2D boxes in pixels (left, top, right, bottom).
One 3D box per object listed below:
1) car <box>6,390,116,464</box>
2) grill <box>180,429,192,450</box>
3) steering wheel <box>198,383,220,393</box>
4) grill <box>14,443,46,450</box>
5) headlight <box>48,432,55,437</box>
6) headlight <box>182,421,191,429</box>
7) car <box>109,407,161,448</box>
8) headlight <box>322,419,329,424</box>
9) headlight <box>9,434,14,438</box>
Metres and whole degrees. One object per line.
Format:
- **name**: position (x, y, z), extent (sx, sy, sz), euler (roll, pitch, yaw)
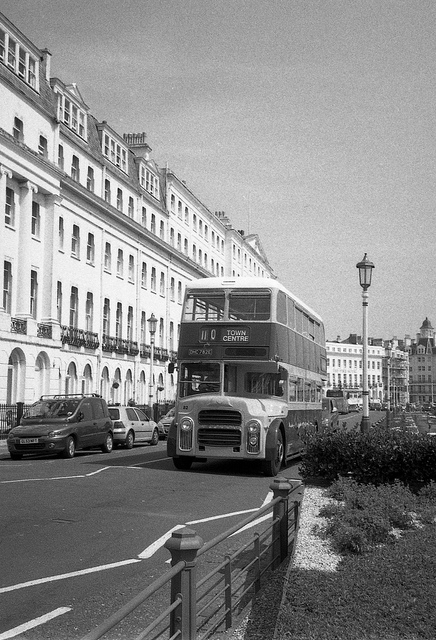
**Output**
- **car**: position (-4.889, 3.382, 20.988), extent (1.861, 2.155, 4.205), euler (-4, -10, 19)
- **grill**: position (-0.784, 2.877, 15.670), extent (0.281, 0.792, 0.358), euler (-1, -8, 16)
- **steering wheel**: position (-0.237, 1.684, 16.005), extent (0.561, 0.244, 0.061), euler (-4, -7, 19)
- **grill**: position (-5.561, 3.744, 19.200), extent (0.958, 0.190, 0.221), euler (-5, -10, 18)
- **headlight**: position (-4.960, 3.373, 19.339), extent (0.140, 0.207, 0.093), euler (1, 3, 3)
- **headlight**: position (-0.772, 2.543, 15.666), extent (0.235, 0.182, 0.064), euler (-3, -7, 15)
- **car**: position (-3.418, 4.395, 26.551), extent (0.531, 1.621, 3.290), euler (-3, -10, 19)
- **headlight**: position (4.891, 4.655, 29.637), extent (0.341, 0.156, 0.447), euler (-1, -3, 18)
- **headlight**: position (-6.173, 3.480, 19.409), extent (0.088, 0.107, 0.160), euler (3, -15, -3)
